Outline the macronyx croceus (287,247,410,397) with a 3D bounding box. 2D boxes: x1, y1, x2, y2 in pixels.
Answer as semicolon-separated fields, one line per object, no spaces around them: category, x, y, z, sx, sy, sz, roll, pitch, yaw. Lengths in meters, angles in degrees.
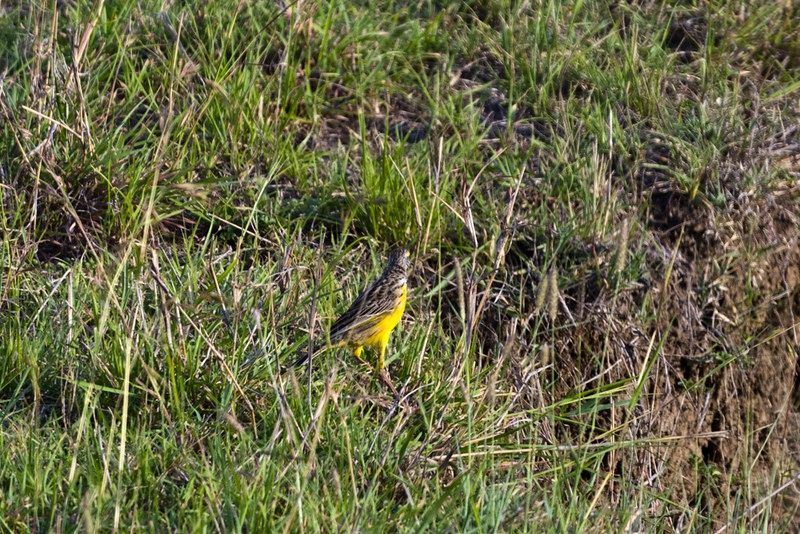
macronyx croceus;-0.276;0.295;5.068;0.822;0.361;0.975;5;86;-28
